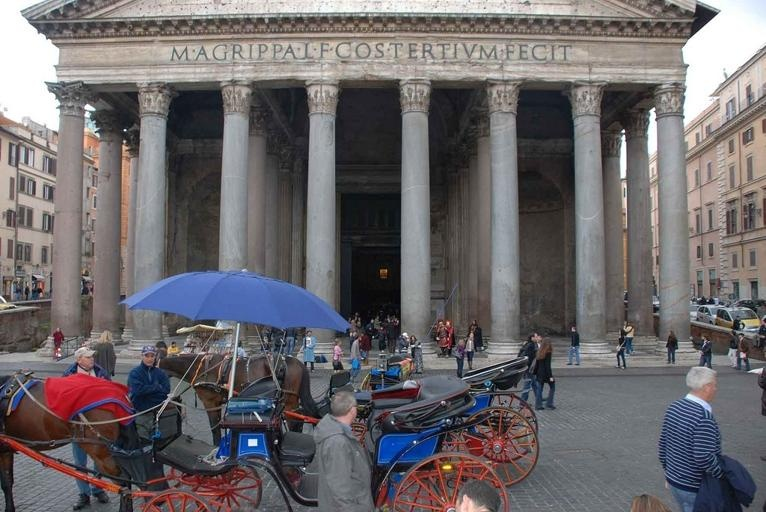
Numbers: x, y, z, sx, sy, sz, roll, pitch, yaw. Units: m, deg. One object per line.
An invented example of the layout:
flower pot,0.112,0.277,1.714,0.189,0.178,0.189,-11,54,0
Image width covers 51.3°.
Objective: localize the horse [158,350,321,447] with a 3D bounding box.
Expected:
horse,-4.790,4.592,24.942,5.668,3.309,1.503,-3,-9,1
